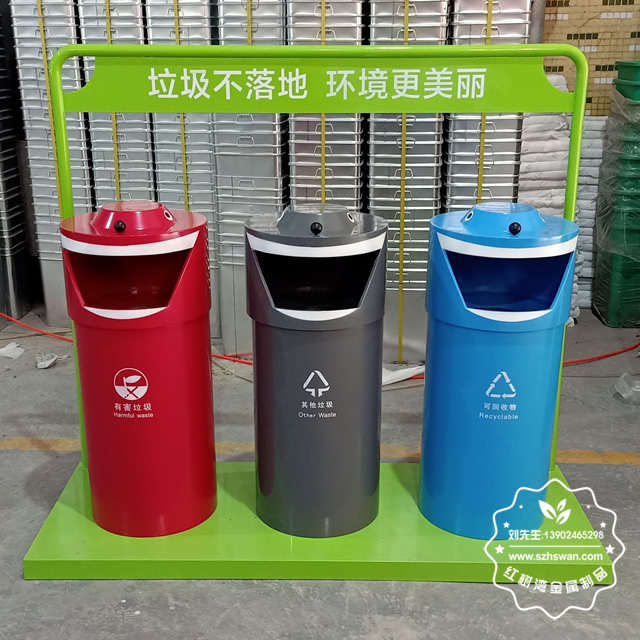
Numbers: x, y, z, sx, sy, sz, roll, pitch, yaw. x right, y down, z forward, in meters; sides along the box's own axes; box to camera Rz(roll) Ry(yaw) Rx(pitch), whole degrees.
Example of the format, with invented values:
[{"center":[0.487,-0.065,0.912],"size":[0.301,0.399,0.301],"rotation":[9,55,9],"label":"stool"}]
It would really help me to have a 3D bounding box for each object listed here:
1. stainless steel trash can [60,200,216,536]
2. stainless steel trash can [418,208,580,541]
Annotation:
[{"center":[-0.700,0.199,2.789],"size":[0.603,1.308,0.638],"rotation":[-5,29,-6],"label":"stainless steel trash can"},{"center":[0.670,0.205,2.772],"size":[0.596,1.292,0.653],"rotation":[7,30,16],"label":"stainless steel trash can"}]
